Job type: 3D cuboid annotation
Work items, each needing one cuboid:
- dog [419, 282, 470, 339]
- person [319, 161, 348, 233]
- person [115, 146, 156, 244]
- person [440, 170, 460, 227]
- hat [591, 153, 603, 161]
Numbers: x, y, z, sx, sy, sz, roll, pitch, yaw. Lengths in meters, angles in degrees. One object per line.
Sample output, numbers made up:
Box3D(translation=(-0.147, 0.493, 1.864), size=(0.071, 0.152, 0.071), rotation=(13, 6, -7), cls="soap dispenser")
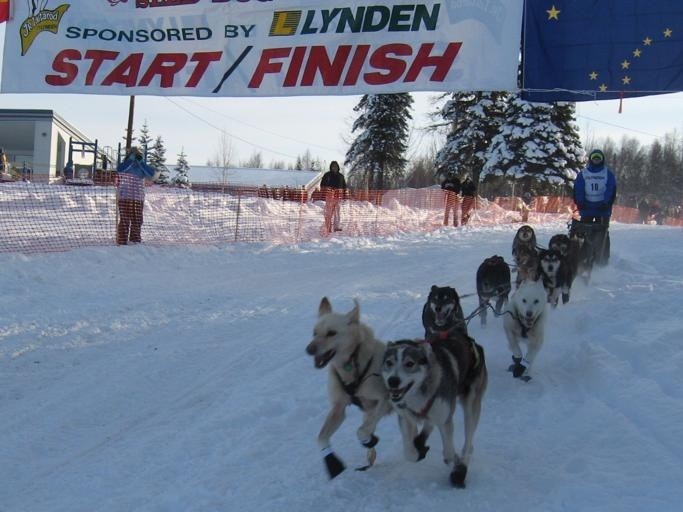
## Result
Box3D(translation=(1.367, 0.746, 7.602), size=(0.371, 0.579, 1.146), rotation=(-3, 5, 8), cls="dog")
Box3D(translation=(-0.277, -1.896, 18.307), size=(0.658, 2.270, 1.582), rotation=(4, 10, 5), cls="person")
Box3D(translation=(-4.756, -1.366, 13.142), size=(0.816, 2.216, 1.028), rotation=(1, 10, -14), cls="person")
Box3D(translation=(4.277, -2.175, 22.299), size=(0.665, 2.116, 1.343), rotation=(6, 11, 14), cls="person")
Box3D(translation=(4.820, -1.874, 10.763), size=(0.192, 0.157, 0.246), rotation=(9, 12, 26), cls="hat")
